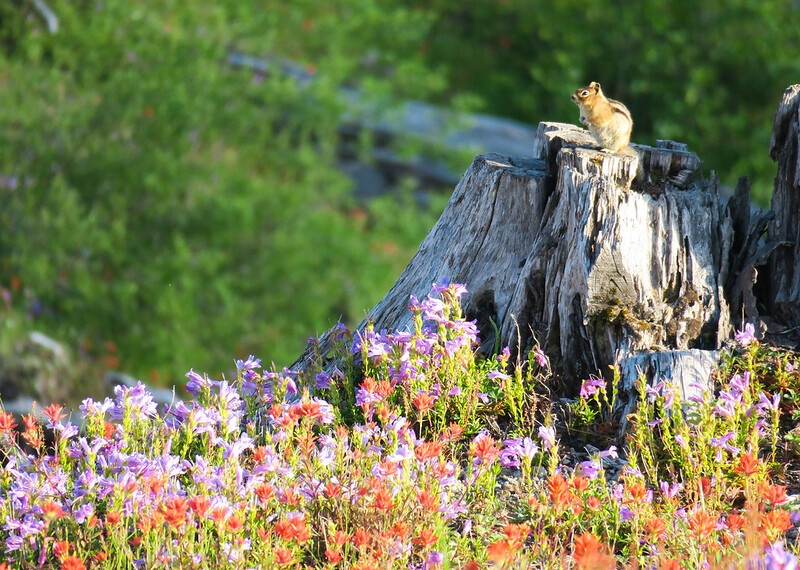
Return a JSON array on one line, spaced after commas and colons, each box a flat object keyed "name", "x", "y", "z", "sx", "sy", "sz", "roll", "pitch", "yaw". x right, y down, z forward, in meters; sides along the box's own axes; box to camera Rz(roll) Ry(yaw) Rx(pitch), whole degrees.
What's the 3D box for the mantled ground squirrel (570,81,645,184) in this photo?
[{"name": "mantled ground squirrel", "x": 1.350, "y": -1.003, "z": 11.129, "sx": 0.713, "sy": 0.361, "sz": 0.234, "roll": 15, "pitch": 15, "yaw": -34}]
